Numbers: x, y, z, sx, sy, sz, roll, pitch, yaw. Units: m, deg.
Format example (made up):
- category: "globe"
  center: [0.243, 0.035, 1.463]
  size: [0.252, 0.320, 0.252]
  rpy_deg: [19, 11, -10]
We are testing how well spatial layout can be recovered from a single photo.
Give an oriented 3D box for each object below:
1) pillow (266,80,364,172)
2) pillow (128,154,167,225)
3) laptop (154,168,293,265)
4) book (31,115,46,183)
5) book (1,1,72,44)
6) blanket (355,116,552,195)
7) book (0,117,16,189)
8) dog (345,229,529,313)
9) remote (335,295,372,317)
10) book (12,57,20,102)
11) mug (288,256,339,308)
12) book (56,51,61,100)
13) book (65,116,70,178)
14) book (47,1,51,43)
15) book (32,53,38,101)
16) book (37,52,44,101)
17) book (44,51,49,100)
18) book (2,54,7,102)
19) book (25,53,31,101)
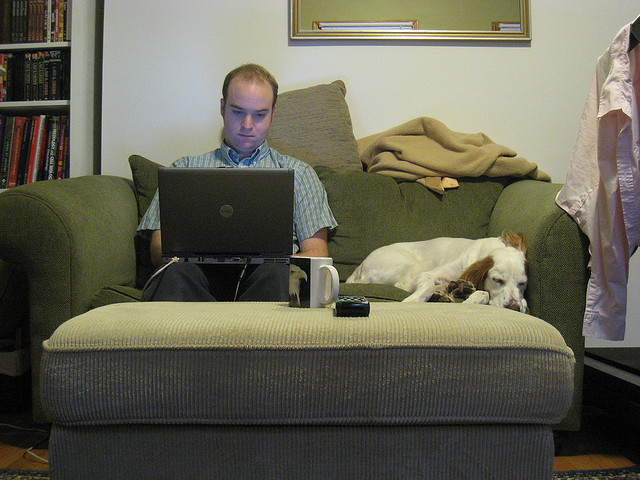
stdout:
- category: "pillow"
  center: [-0.019, -0.617, 3.216]
  size: [0.501, 0.491, 0.248]
  rpy_deg: [4, 6, 2]
- category: "pillow"
  center: [-0.837, -0.244, 2.897]
  size: [0.104, 0.267, 0.265]
  rpy_deg: [-1, -10, 22]
- category: "laptop"
  center: [-0.345, -0.080, 2.085]
  size: [0.533, 0.378, 0.411]
  rpy_deg: [1, 1, 2]
- category: "book"
  center: [-1.528, -0.495, 3.293]
  size: [0.041, 0.352, 0.086]
  rpy_deg: [4, 6, 4]
- category: "book"
  center: [-1.555, -1.186, 3.314]
  size: [0.381, 0.240, 0.048]
  rpy_deg: [4, 6, 4]
- category: "blanket"
  center: [0.731, -0.392, 3.242]
  size: [0.988, 0.389, 1.221]
  rpy_deg: [8, 6, 39]
- category: "book"
  center: [-1.694, -0.466, 3.288]
  size: [0.058, 0.384, 0.084]
  rpy_deg: [3, 6, -8]
- category: "dog"
  center: [0.541, 0.133, 2.566]
  size: [0.381, 0.186, 0.500]
  rpy_deg: [-6, 1, -16]
- category: "remote"
  center: [0.107, 0.209, 1.928]
  size: [0.119, 0.056, 0.108]
  rpy_deg: [4, 5, 0]
- category: "book"
  center: [-1.665, -0.878, 3.323]
  size: [0.033, 0.232, 0.032]
  rpy_deg: [0, 7, -29]
- category: "mug"
  center: [-0.008, 0.144, 2.012]
  size: [0.124, 0.189, 0.208]
  rpy_deg: [-8, 16, -39]
- category: "book"
  center: [-1.431, -0.897, 3.321]
  size: [0.021, 0.257, 0.044]
  rpy_deg: [1, 6, -26]
- category: "book"
  center: [-1.368, -0.499, 3.295]
  size: [0.015, 0.317, 0.059]
  rpy_deg: [1, 6, -23]
- category: "book"
  center: [-1.480, -1.190, 3.315]
  size: [0.015, 0.212, 0.028]
  rpy_deg: [0, 7, -30]
- category: "book"
  center: [-1.561, -0.889, 3.322]
  size: [0.026, 0.249, 0.052]
  rpy_deg: [1, 6, -26]
- category: "book"
  center: [-1.529, -0.891, 3.320]
  size: [0.031, 0.254, 0.057]
  rpy_deg: [0, 7, -28]
- category: "book"
  center: [-1.497, -0.895, 3.322]
  size: [0.023, 0.261, 0.054]
  rpy_deg: [1, 6, -26]
- category: "book"
  center: [-1.723, -0.881, 3.315]
  size: [0.021, 0.247, 0.030]
  rpy_deg: [0, 7, -31]
- category: "book"
  center: [-1.600, -0.890, 3.322]
  size: [0.028, 0.249, 0.048]
  rpy_deg: [0, 7, -28]
